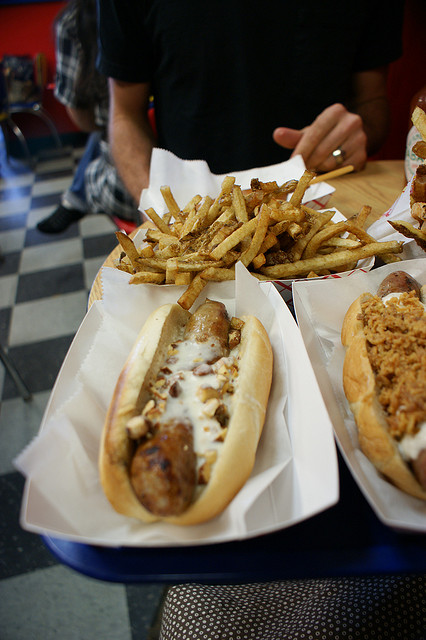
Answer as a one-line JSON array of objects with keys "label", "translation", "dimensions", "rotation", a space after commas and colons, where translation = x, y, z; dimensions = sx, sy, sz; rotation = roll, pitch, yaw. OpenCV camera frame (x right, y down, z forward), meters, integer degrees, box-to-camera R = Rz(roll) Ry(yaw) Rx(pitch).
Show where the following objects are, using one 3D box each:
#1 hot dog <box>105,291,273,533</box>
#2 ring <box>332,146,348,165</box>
[{"label": "hot dog", "translation": [-0.046, 0.188, 1.129], "dimensions": [0.331, 0.197, 0.697], "rotation": [7, 33, 6]}, {"label": "ring", "translation": [0.544, -0.712, 2.039], "dimensions": [0.024, 0.072, 0.053], "rotation": [-3, 30, 31]}]
